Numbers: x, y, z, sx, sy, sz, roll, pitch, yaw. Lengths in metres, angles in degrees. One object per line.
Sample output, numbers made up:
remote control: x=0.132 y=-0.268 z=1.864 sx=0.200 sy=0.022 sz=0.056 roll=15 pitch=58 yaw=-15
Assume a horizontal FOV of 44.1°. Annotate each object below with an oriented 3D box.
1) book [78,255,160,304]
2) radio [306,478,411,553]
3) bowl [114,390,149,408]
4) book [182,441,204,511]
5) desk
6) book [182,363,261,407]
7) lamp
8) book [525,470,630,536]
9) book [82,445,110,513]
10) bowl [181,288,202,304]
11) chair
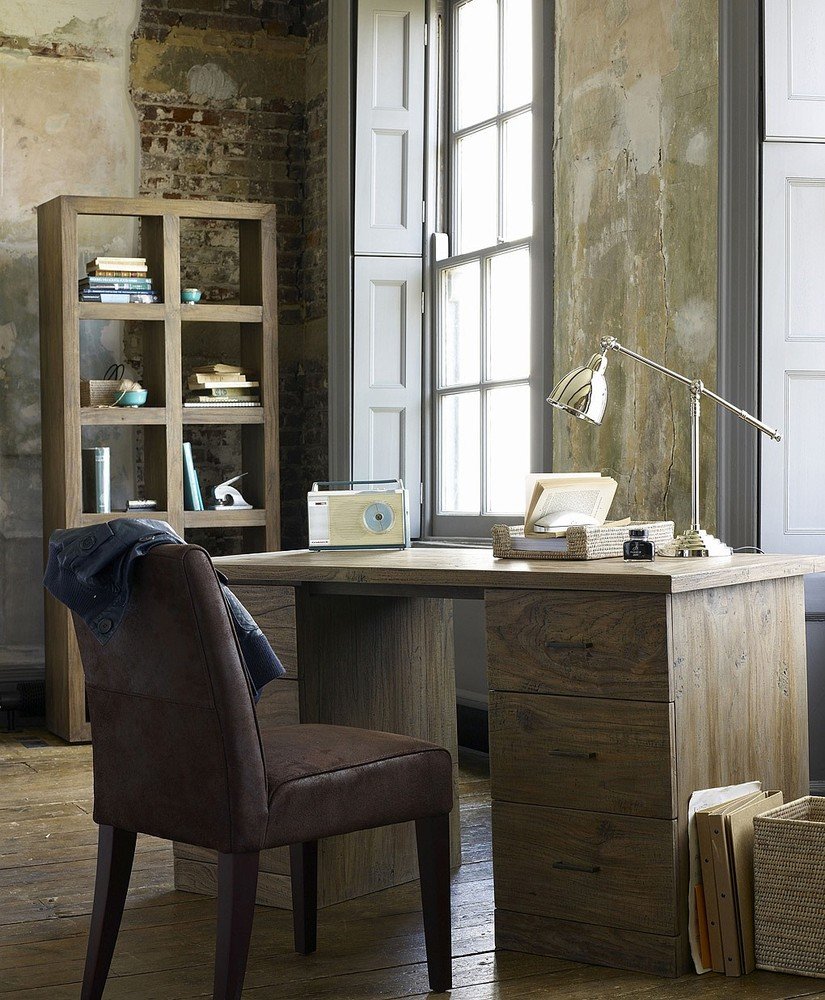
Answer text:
book: x=-1.229 y=-0.898 z=4.230 sx=0.229 sy=0.142 sz=0.230 roll=-2 pitch=5 yaw=-32
radio: x=-0.143 y=-0.007 z=2.605 sx=0.297 sy=0.218 sz=0.160 roll=0 pitch=4 yaw=0
bowl: x=-1.197 y=-0.425 z=4.318 sx=0.128 sy=0.087 sz=0.235 roll=0 pitch=2 yaw=-14
book: x=-0.999 y=-0.105 z=4.625 sx=0.092 sy=0.295 sz=0.509 roll=0 pitch=2 yaw=-12
desk: x=0.166 y=0.504 z=1.908 sx=0.819 sy=0.504 sz=0.421 roll=-2 pitch=-4 yaw=29
book: x=-0.854 y=-0.481 z=4.456 sx=0.218 sy=0.105 sz=0.224 roll=-2 pitch=5 yaw=-41
lamp: x=0.597 y=-0.113 z=2.371 sx=0.568 sy=0.497 sz=0.170 roll=0 pitch=4 yaw=-10
book: x=0.353 y=0.012 z=2.301 sx=0.191 sy=0.130 sz=0.214 roll=1 pitch=2 yaw=12
book: x=-1.346 y=-0.079 z=4.307 sx=0.096 sy=0.277 sz=0.205 roll=-1 pitch=2 yaw=-28
bowl: x=-0.996 y=-0.893 z=4.477 sx=0.100 sy=0.074 sz=0.095 roll=1 pitch=3 yaw=0
chair: x=-0.369 y=0.409 z=2.102 sx=0.759 sy=1.137 sz=0.646 roll=-1 pitch=0 yaw=-38
